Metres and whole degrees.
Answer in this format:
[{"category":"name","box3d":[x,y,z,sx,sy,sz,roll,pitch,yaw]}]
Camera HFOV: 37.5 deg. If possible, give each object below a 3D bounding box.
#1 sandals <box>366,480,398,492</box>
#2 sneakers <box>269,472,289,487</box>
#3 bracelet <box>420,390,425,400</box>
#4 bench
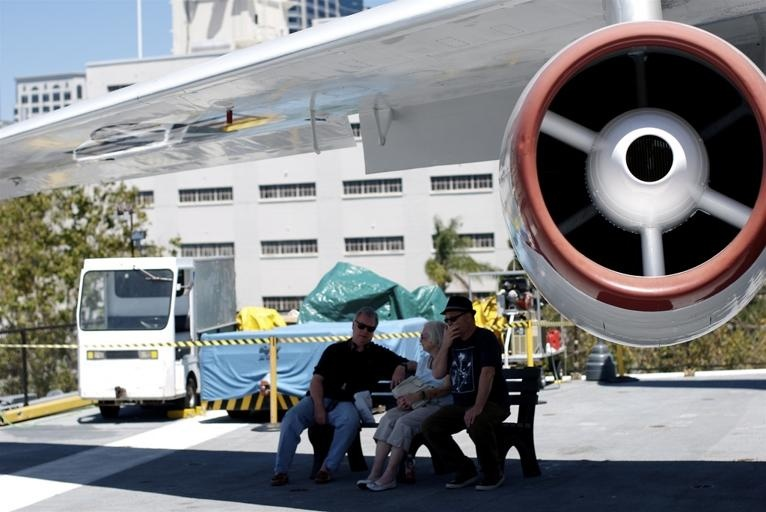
[{"category":"sandals","box3d":[-0.033,2.836,13.947,0.365,0.143,0.131,4,-3,-13]},{"category":"sneakers","box3d":[-1.311,2.826,14.260,0.250,0.230,0.106,14,-20,-35]},{"category":"bracelet","box3d":[0.472,1.736,14.033,0.085,0.084,0.020,5,-20,-1]},{"category":"bench","box3d":[0.655,2.141,14.478,2.668,1.123,1.017,-2,8,5]}]
